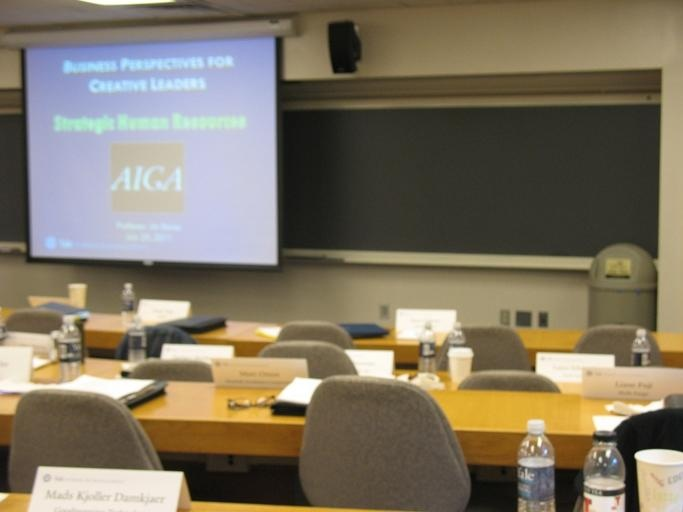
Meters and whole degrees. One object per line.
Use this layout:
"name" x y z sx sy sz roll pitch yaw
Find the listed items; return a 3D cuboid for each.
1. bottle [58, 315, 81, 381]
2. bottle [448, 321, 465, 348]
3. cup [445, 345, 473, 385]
"bottle" -1.401 0.491 3.580 0.134 0.372 0.128 8 13 -2
"bottle" 0.646 0.456 3.948 0.101 0.185 0.402 -1 3 8
"cup" 0.625 0.578 3.725 0.169 0.199 0.169 1 4 0
